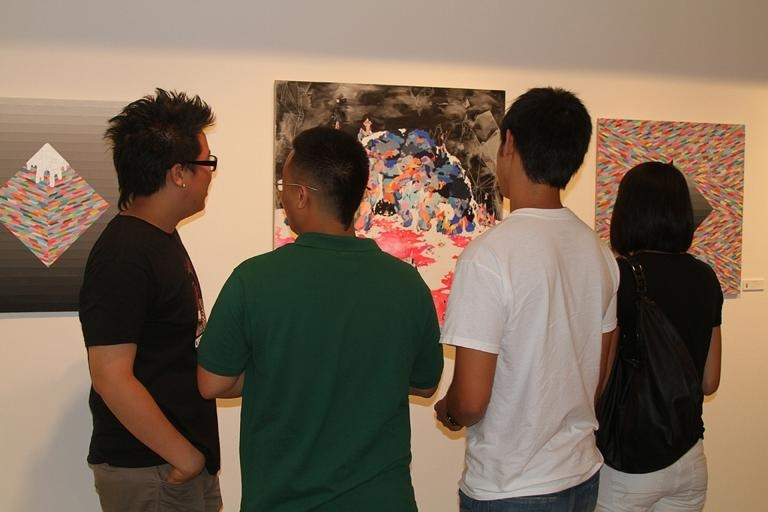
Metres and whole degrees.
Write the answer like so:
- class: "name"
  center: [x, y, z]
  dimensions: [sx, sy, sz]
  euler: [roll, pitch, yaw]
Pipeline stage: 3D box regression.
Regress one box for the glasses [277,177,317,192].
- class: "glasses"
  center: [-0.385, -0.317, 2.867]
  dimensions: [0.213, 0.062, 0.169]
  euler: [3, 1, 27]
